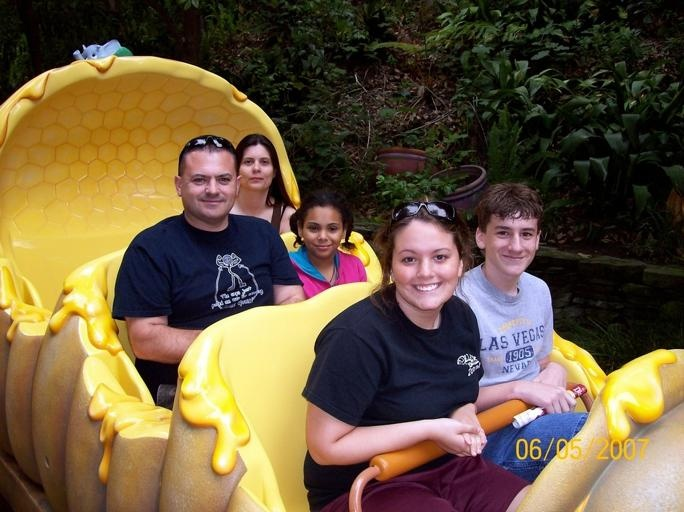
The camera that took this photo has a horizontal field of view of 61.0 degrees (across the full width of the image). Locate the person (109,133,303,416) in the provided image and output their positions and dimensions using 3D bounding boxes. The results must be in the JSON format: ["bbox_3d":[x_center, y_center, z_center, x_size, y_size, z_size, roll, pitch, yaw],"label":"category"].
[{"bbox_3d":[-0.582,0.030,2.820,0.964,1.323,0.910,-2,6,-38],"label":"person"}]

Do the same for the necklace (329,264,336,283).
[{"bbox_3d":[-0.053,0.088,2.957,0.025,0.095,0.002,13,-34,-10],"label":"necklace"}]
